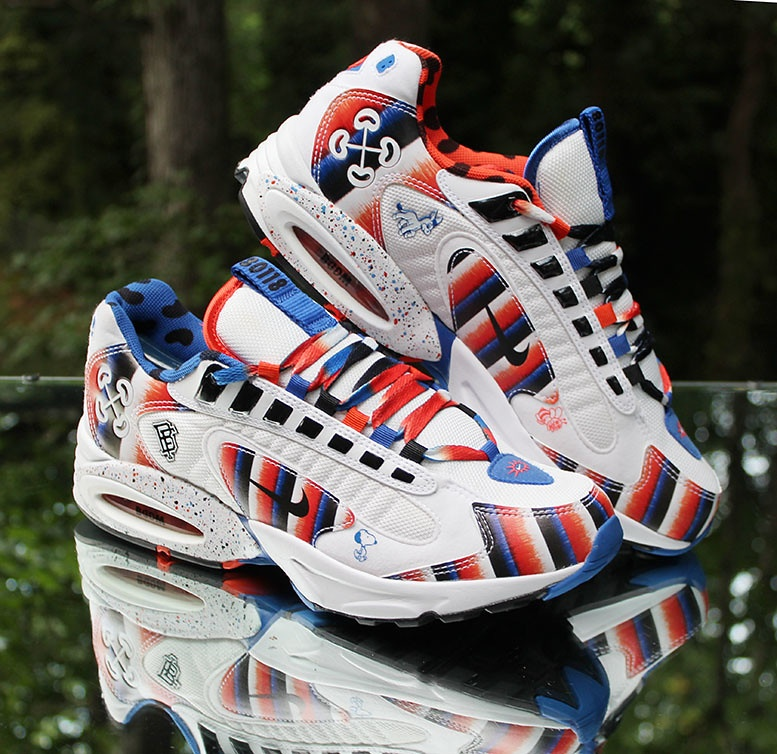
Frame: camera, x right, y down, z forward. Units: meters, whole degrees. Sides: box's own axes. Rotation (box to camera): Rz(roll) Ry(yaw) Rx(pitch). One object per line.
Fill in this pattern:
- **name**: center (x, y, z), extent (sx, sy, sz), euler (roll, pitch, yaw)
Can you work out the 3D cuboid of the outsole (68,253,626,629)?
- **outsole**: center (-0.114, 0.030, 0.924), extent (0.692, 0.232, 0.259), euler (12, 104, 16)
